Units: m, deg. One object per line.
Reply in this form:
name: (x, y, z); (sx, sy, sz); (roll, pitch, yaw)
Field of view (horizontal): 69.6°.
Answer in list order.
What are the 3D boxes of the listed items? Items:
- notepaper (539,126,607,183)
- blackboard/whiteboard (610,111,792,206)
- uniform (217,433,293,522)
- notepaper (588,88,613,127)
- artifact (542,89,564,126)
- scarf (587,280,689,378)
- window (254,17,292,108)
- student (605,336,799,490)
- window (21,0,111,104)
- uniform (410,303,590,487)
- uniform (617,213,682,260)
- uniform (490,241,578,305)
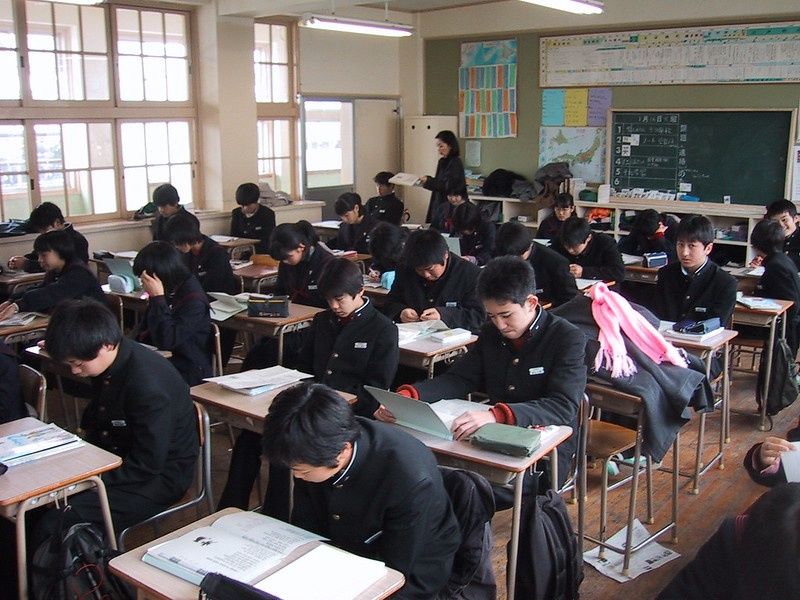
notepaper: (2.394, -2.065, 7.987); (0.086, 0.764, 1.037); (-31, 34, -34)
blackboard/whiteboard: (3.719, -1.720, 6.970); (1.921, 0.892, 0.119); (9, 24, 33)
uniform: (-0.696, 0.772, 2.550); (0.186, 0.354, 0.128); (6, -8, -27)
notepaper: (2.658, -2.566, 7.644); (0.110, 0.511, 0.353); (-11, 17, -34)
artifact: (2.132, -2.675, 7.999); (0.078, 0.521, 0.329); (-14, 19, -40)
scarf: (0.985, 0.150, 2.608); (0.410, 0.095, 0.418); (-28, 64, -25)
window: (-1.691, -3.142, 7.666); (0.562, 1.052, 0.096); (-15, 20, -43)
student: (1.837, 0.460, 3.790); (1.083, 1.083, 1.410); (5, 9, 40)
window: (-3.476, -2.604, 6.051); (0.155, 1.032, 0.857); (8, 16, 31)
uniform: (0.459, 0.396, 2.573); (0.738, 0.670, 0.680); (5, 14, 28)
uniform: (2.523, -0.695, 5.940); (0.525, 0.489, 0.631); (10, 51, 34)
uniform: (0.847, -0.159, 3.568); (0.307, 0.412, 0.494); (-29, 21, -18)
